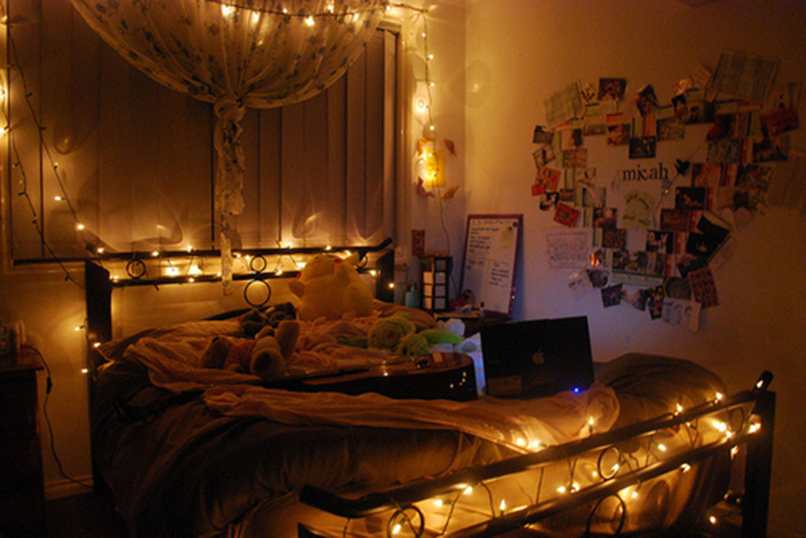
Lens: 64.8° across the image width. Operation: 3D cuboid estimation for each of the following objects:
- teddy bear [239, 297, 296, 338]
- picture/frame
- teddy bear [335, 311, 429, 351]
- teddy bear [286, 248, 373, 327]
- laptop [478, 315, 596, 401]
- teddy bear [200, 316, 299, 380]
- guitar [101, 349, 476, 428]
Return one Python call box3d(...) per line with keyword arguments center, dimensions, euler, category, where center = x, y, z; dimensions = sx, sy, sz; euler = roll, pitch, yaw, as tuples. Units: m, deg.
box3d(center=(-0.927, 0.330, 4.210), dimensions=(0.242, 0.138, 0.323), euler=(-10, -3, -28), category="teddy bear")
box3d(center=(0.767, -0.016, 5.519), dimensions=(0.075, 1.134, 0.808), euler=(8, -4, -37), category="picture/frame")
box3d(center=(-0.144, 0.415, 4.078), dimensions=(0.337, 0.175, 0.276), euler=(-2, -4, 22), category="teddy bear")
box3d(center=(-0.528, 0.104, 4.664), dimensions=(0.476, 0.505, 0.460), euler=(-9, 46, -20), category="teddy bear")
box3d(center=(0.725, 0.466, 3.317), dimensions=(0.557, 0.413, 0.404), euler=(-3, -1, -7), category="laptop")
box3d(center=(-0.818, 0.468, 3.660), dimensions=(0.417, 0.198, 0.391), euler=(-9, 12, -43), category="teddy bear")
box3d(center=(-0.497, 0.620, 3.487), dimensions=(1.456, 0.225, 0.739), euler=(-3, -3, -14), category="guitar")
